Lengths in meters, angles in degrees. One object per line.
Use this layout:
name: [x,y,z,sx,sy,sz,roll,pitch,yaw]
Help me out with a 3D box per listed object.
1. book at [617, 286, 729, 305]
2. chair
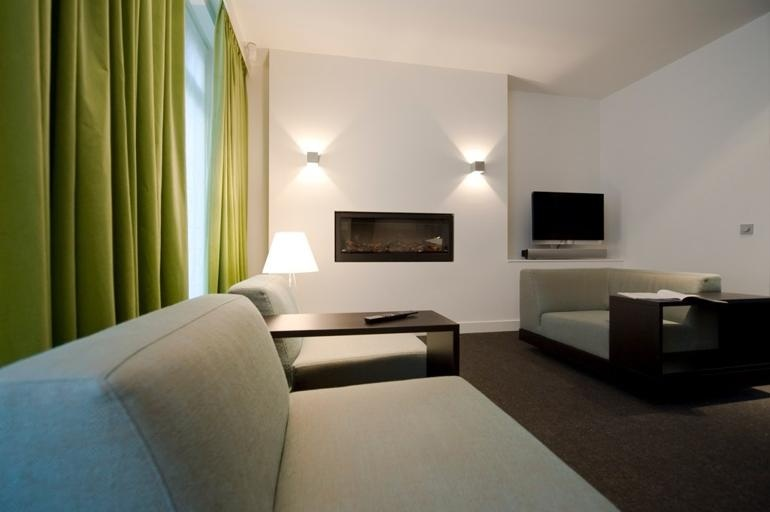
book: [2.092,0.308,3.918,0.670,0.063,0.399,7,10,43]
chair: [-0.353,0.506,3.934,1.382,0.842,1.404,-6,6,1]
